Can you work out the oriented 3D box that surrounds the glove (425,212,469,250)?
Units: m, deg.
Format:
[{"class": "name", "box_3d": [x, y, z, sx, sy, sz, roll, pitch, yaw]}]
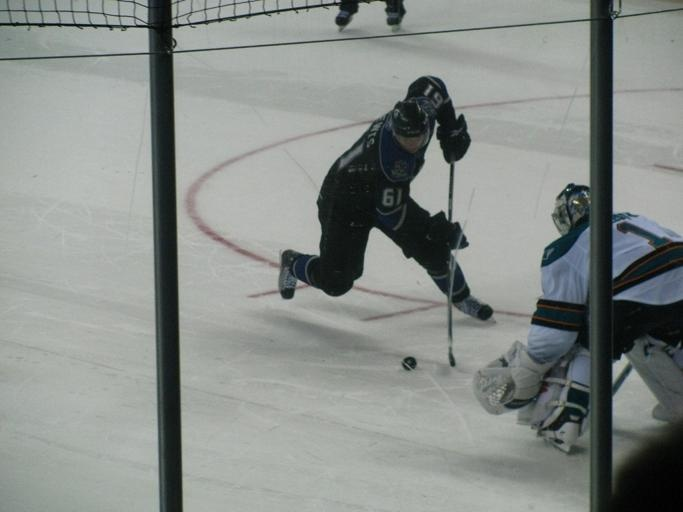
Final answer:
[{"class": "glove", "box_3d": [0.524, -0.121, 5.180, 0.217, 0.140, 0.094, 36, 3, 0]}]

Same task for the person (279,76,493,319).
[{"class": "person", "box_3d": [0.289, -0.432, 5.471, 1.304, 1.349, 0.942, 9, 33, 19]}]

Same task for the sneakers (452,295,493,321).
[{"class": "sneakers", "box_3d": [0.669, 0.268, 5.172, 0.193, 0.081, 0.109, 23, 33, -5]}]

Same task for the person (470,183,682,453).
[{"class": "person", "box_3d": [1.240, 0.312, 5.149, 1.040, 1.289, 0.420, 6, 15, 7]}]
